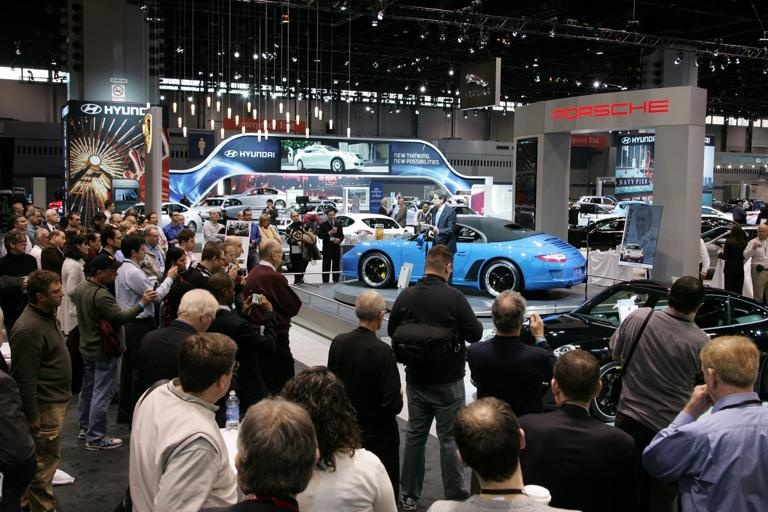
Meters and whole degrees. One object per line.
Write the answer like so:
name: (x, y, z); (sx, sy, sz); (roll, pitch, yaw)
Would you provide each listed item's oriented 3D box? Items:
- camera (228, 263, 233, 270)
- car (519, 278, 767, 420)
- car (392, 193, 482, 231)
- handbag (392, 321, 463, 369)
camera: (-1.759, 0.114, 6.992); (0.027, 0.077, 0.056); (5, -3, 8)
car: (3.159, 1.076, 7.327); (2.994, 0.994, 1.489); (1, 1, -6)
car: (1.742, -1.452, 24.497); (3.935, 1.343, 1.759); (-6, 11, -31)
handbag: (0.390, 0.777, 5.477); (0.558, 0.382, 0.673); (-2, 4, 28)
